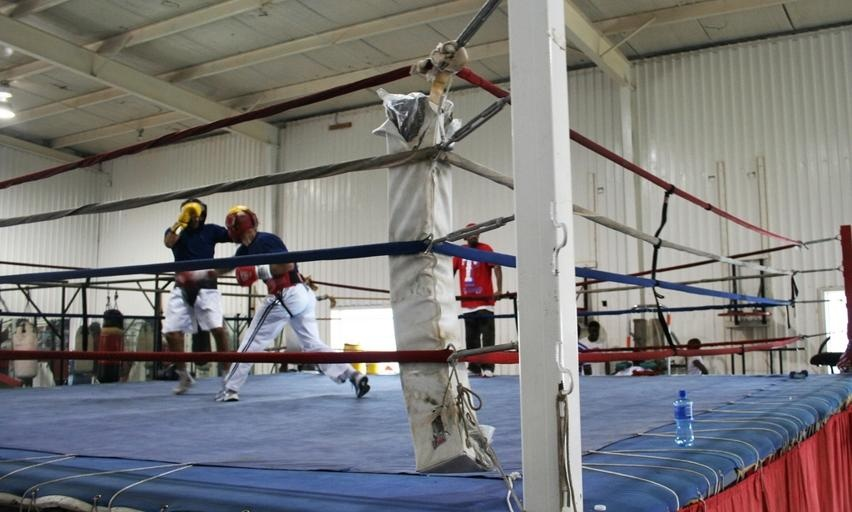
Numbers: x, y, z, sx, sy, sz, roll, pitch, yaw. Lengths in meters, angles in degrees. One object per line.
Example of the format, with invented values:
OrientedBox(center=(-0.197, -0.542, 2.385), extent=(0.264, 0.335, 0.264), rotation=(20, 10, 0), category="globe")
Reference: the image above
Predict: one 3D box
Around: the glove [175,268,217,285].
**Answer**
OrientedBox(center=(-2.630, 0.237, 9.271), extent=(0.469, 0.093, 0.407), rotation=(0, -4, -5), category="glove")

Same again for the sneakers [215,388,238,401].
OrientedBox(center=(-2.173, 1.509, 8.960), extent=(0.263, 0.096, 0.108), rotation=(0, -4, 26), category="sneakers")

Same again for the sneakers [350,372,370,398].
OrientedBox(center=(-0.737, 1.420, 9.094), extent=(0.172, 0.120, 0.363), rotation=(15, -27, 10), category="sneakers")

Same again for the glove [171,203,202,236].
OrientedBox(center=(-2.703, -0.442, 9.232), extent=(0.316, 0.375, 0.168), rotation=(11, -10, -14), category="glove")

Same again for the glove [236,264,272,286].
OrientedBox(center=(-1.884, 0.207, 8.891), extent=(0.303, 0.148, 0.358), rotation=(2, -12, -39), category="glove")

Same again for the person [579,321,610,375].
OrientedBox(center=(2.768, 1.698, 13.736), extent=(0.474, 1.141, 0.367), rotation=(0, 3, 3), category="person")
